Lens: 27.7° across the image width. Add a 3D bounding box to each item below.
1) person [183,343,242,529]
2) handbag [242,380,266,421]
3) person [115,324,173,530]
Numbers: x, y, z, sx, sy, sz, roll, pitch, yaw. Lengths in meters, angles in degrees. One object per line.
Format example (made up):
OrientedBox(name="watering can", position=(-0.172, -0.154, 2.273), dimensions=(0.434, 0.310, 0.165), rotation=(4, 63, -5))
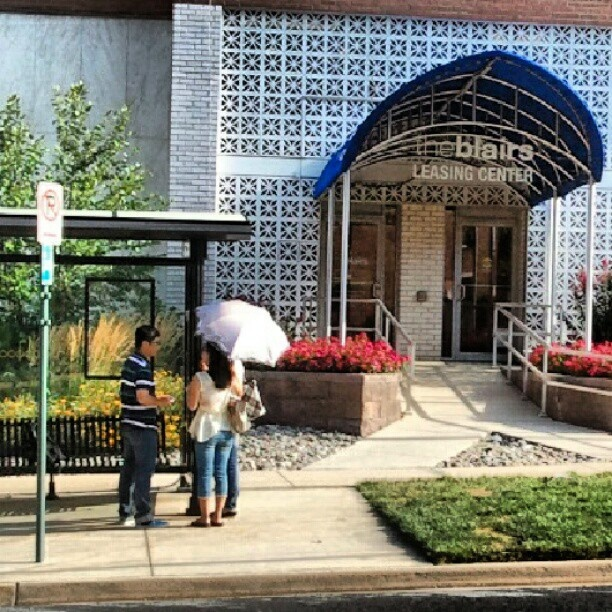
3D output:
OrientedBox(name="person", position=(-0.971, 1.379, 13.325), dimensions=(0.585, 1.960, 0.386), rotation=(1, 1, -8))
OrientedBox(name="handbag", position=(-0.575, 1.040, 13.515), dimensions=(0.107, 0.490, 0.271), rotation=(-10, -6, 11))
OrientedBox(name="person", position=(-1.705, 1.283, 13.304), dimensions=(0.492, 2.134, 0.593), rotation=(1, 1, -16))
